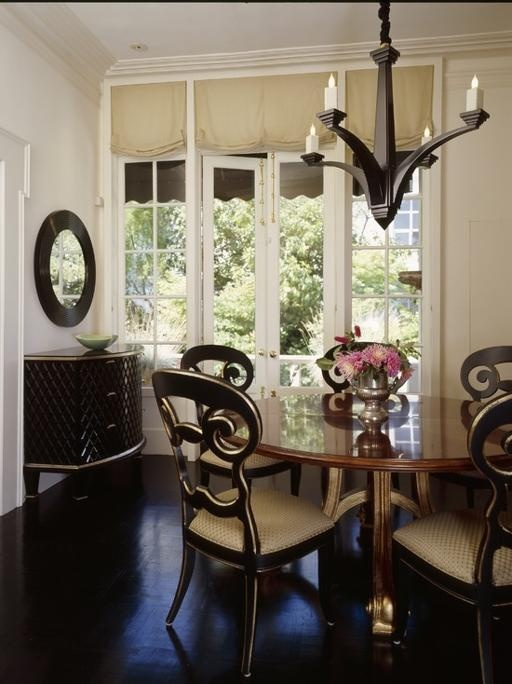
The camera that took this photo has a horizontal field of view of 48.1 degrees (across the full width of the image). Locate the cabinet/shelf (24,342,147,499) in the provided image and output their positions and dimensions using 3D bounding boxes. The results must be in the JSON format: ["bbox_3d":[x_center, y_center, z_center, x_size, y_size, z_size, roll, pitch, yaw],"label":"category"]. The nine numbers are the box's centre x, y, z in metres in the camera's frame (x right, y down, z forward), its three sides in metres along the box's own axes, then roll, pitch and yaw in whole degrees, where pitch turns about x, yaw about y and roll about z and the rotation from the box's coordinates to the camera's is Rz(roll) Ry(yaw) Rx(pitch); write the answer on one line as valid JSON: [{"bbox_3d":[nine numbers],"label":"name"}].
[{"bbox_3d":[-0.992,0.450,3.538,0.466,0.754,0.819,-2,1,10],"label":"cabinet/shelf"}]

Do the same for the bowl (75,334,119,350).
[{"bbox_3d":[-1.019,-0.003,3.596,0.174,0.063,0.141,0,2,41],"label":"bowl"}]

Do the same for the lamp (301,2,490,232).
[{"bbox_3d":[0.522,-0.957,2.426,0.652,0.920,0.992,-1,4,1],"label":"lamp"}]
